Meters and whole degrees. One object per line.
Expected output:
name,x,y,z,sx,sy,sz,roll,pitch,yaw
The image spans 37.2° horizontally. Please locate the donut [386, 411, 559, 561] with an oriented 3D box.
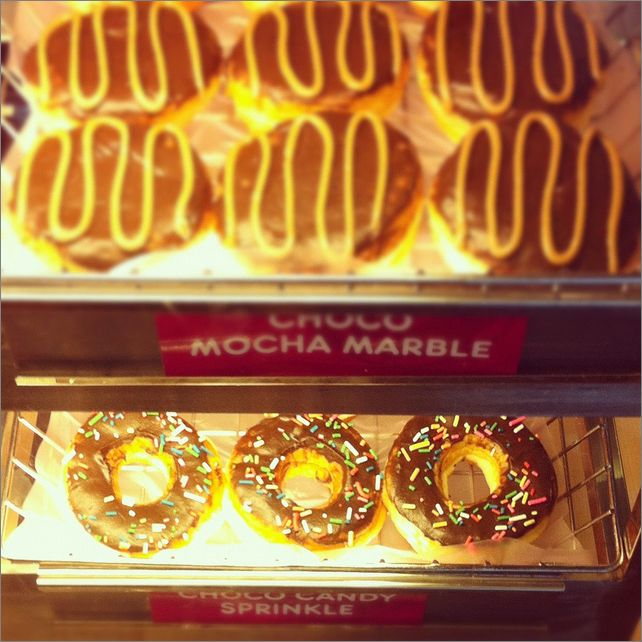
donut,0.393,0.430,2.520,0.445,0.383,0.212,11,-28,-18
